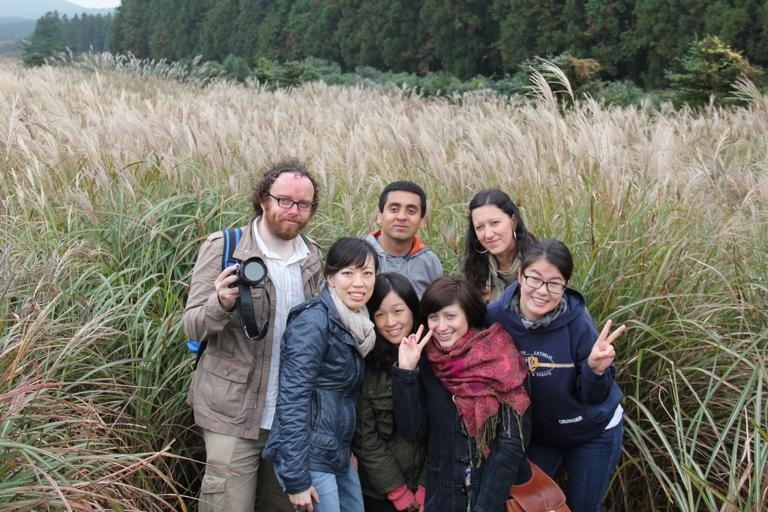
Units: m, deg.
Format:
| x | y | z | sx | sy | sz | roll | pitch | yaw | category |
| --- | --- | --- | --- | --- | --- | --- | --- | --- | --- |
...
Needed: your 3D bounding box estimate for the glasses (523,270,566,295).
| x | y | z | sx | sy | sz | roll | pitch | yaw | category |
| --- | --- | --- | --- | --- | --- | --- | --- | --- | --- |
| 1.218 | 0.216 | 4.335 | 0.293 | 0.134 | 0.070 | 3 | 18 | 15 | glasses |
